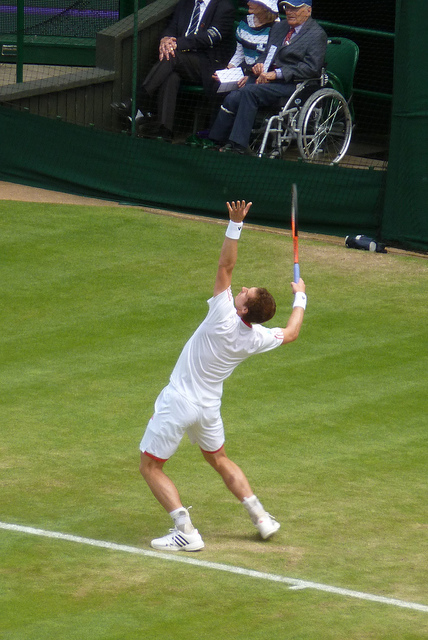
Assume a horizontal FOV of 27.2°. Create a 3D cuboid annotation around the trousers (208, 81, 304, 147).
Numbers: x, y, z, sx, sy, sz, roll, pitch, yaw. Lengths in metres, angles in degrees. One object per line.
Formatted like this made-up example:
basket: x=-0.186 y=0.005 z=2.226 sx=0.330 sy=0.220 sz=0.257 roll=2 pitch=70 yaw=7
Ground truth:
trousers: x=0.490 y=-2.710 z=11.549 sx=1.111 sy=0.849 sz=0.506 roll=2 pitch=14 yaw=1
